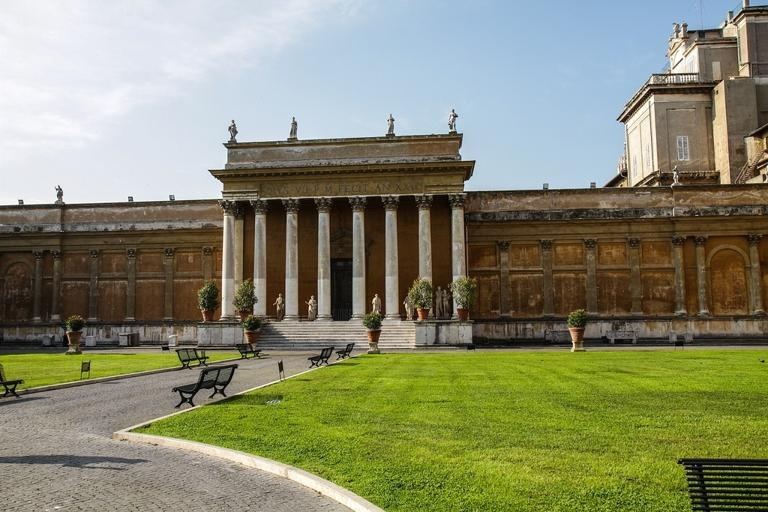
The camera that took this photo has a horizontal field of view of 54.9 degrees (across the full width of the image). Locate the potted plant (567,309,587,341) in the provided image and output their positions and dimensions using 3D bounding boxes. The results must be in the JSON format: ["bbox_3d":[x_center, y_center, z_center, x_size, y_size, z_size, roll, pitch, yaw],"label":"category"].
[{"bbox_3d":[12.082,4.389,46.132,1.015,1.912,1.633,-3,-6,11],"label":"potted plant"}]

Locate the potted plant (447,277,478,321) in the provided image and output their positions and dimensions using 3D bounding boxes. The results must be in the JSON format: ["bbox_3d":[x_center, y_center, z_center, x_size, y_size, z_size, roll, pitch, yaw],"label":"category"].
[{"bbox_3d":[5.413,2.852,50.646,1.392,3.072,2.148,-2,-6,-2],"label":"potted plant"}]

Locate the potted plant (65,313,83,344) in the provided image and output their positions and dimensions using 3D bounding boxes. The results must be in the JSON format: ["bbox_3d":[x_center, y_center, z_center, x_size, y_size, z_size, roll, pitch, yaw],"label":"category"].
[{"bbox_3d":[-20.194,5.005,48.295,0.924,2.062,2.744,0,-6,-22],"label":"potted plant"}]

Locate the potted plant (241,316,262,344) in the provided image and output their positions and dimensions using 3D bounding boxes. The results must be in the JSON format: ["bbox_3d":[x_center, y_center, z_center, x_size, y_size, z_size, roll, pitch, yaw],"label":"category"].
[{"bbox_3d":[-8.689,4.899,49.235,1.694,1.777,1.625,2,2,-18],"label":"potted plant"}]

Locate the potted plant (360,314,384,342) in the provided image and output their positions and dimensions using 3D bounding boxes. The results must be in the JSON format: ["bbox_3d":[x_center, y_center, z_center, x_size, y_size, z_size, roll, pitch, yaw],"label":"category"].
[{"bbox_3d":[-0.886,4.447,46.392,1.663,1.932,1.585,0,0,-24],"label":"potted plant"}]

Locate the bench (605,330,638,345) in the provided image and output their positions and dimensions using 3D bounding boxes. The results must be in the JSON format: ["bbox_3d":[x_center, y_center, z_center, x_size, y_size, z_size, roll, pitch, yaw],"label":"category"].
[{"bbox_3d":[17.160,5.836,53.406,2.199,0.901,2.257,-3,-6,17],"label":"bench"}]

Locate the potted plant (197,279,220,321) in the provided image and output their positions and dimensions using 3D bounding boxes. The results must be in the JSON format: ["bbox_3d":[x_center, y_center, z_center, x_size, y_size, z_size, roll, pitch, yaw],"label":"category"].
[{"bbox_3d":[-12.407,3.216,52.424,1.303,2.847,0.999,0,-6,-14],"label":"potted plant"}]

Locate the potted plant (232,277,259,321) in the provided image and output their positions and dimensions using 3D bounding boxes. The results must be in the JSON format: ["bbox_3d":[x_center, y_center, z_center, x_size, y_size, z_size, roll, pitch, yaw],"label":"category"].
[{"bbox_3d":[-9.631,3.045,51.511,1.431,2.820,1.333,0,-6,-18],"label":"potted plant"}]
